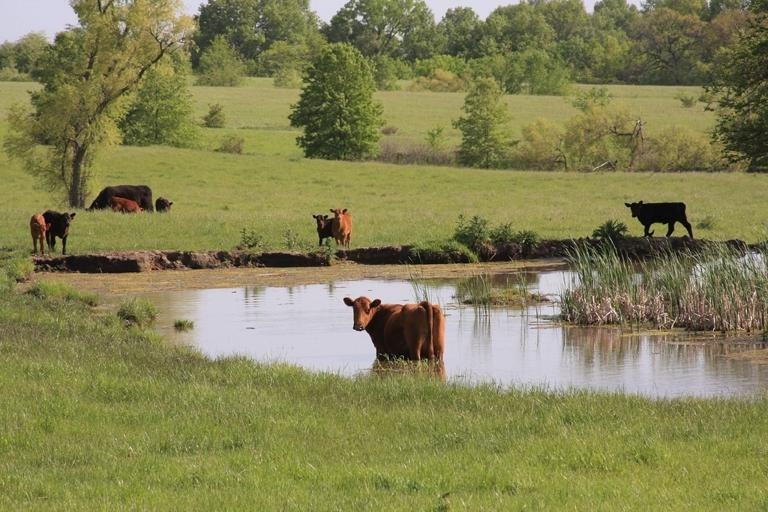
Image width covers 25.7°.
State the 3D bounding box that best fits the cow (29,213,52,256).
[{"bbox_3d":[-26.159,-1.801,128.215,1.305,3.009,2.748,-3,13,-12],"label":"cow"}]
